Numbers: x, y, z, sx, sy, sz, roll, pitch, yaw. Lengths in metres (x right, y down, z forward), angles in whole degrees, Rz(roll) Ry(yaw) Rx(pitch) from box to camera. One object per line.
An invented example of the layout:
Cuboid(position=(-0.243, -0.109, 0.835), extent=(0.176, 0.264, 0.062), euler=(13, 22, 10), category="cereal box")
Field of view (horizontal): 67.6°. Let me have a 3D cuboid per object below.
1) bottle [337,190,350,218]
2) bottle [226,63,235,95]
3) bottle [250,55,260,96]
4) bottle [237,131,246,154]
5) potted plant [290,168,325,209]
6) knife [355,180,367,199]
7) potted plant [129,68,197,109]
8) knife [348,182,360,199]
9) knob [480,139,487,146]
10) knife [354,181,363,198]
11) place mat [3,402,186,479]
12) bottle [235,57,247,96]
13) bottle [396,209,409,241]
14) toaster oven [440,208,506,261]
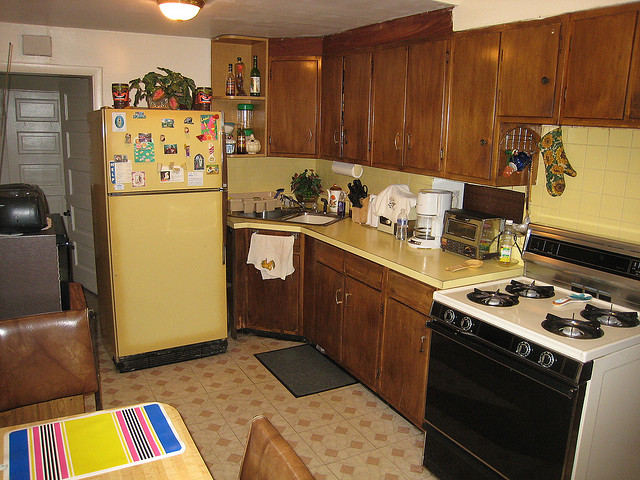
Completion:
Cuboid(position=(0.237, -0.379, 4.776), extent=(0.117, 0.241, 0.279), euler=(0, 15, 4), category="bottle")
Cuboid(position=(-0.896, -1.610, 4.749), extent=(0.086, 0.306, 0.147), euler=(-2, 14, -6), category="bottle")
Cuboid(position=(-0.643, -1.632, 4.716), extent=(0.088, 0.388, 0.092), euler=(-1, 14, 0), category="bottle")
Cuboid(position=(-0.794, -0.988, 4.817), extent=(0.087, 0.220, 0.067), euler=(-2, 14, -3), category="bottle")
Cuboid(position=(-0.124, -0.539, 5.009), extent=(0.354, 0.364, 0.321), euler=(-2, 14, -2), category="potted plant")
Cuboid(position=(0.380, -0.463, 4.338), extent=(0.102, 0.163, 0.049), euler=(3, 15, 15), category="knife")
Cuboid(position=(-1.334, -1.272, 4.024), extent=(0.440, 0.273, 0.628), euler=(22, 26, 16), category="potted plant")
Cuboid(position=(0.318, -0.453, 4.363), extent=(0.029, 0.122, 0.119), euler=(-25, 33, -23), category="knife")
Cuboid(position=(1.106, -0.663, 3.219), extent=(0.028, 0.030, 0.030), euler=(0, 0, 37), category="knob")
Cuboid(position=(0.342, -0.476, 4.369), extent=(0.035, 0.174, 0.033), euler=(-23, 0, 37), category="knife")
Cuboid(position=(-0.872, 0.778, 1.840), extent=(0.673, 0.046, 0.341), euler=(-6, 16, -17), category="place mat")
Cuboid(position=(-0.795, -1.637, 4.765), extent=(0.114, 0.373, 0.185), euler=(-3, 14, -8), category="bottle")
Cuboid(position=(0.665, -0.122, 3.857), extent=(0.107, 0.236, 0.106), euler=(-1, 14, 0), category="bottle")
Cuboid(position=(0.995, -0.028, 3.581), extent=(0.369, 0.282, 0.247), euler=(16, -8, -23), category="toaster oven")
